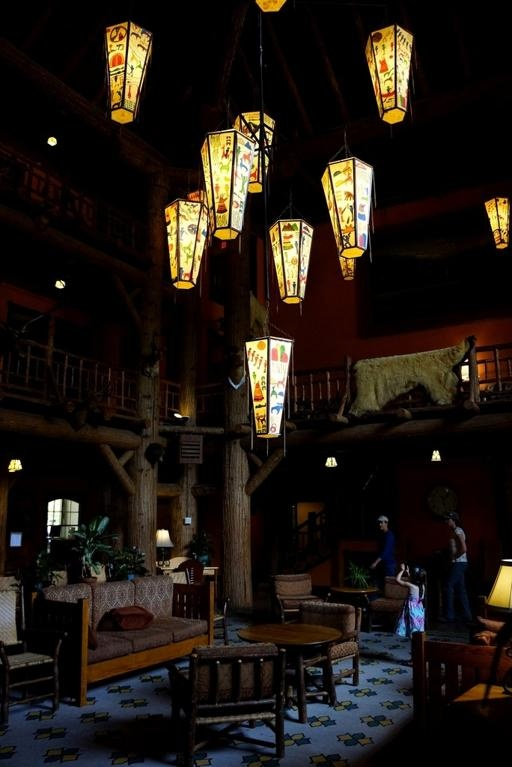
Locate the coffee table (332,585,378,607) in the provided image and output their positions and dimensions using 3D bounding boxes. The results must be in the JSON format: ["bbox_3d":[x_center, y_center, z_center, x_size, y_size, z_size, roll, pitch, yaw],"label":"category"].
[{"bbox_3d":[1.355,2.992,8.346,0.523,0.151,0.543,-2,-3,2],"label":"coffee table"}]

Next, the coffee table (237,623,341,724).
[{"bbox_3d":[0.334,2.252,5.123,0.871,0.729,0.877,1,-5,-37],"label":"coffee table"}]

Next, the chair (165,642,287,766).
[{"bbox_3d":[-0.188,2.075,3.893,0.618,0.802,0.855,1,-12,-6],"label":"chair"}]

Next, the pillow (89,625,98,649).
[{"bbox_3d":[-1.440,2.224,5.190,0.048,0.173,0.117,2,-4,-20],"label":"pillow"}]
